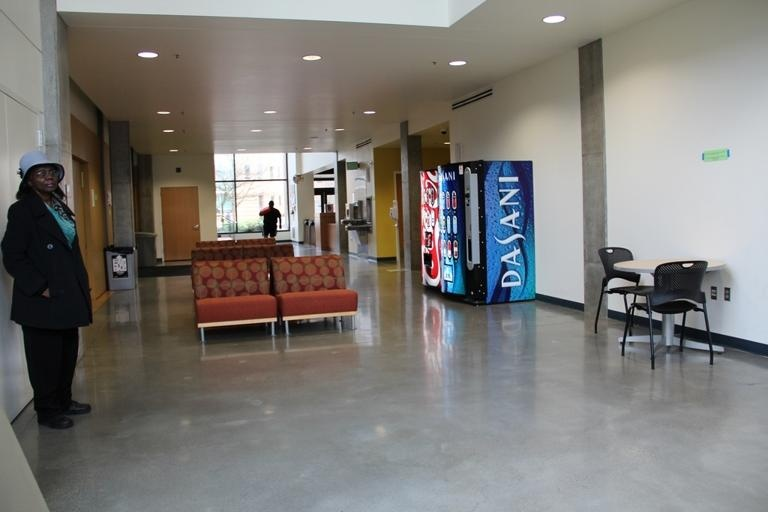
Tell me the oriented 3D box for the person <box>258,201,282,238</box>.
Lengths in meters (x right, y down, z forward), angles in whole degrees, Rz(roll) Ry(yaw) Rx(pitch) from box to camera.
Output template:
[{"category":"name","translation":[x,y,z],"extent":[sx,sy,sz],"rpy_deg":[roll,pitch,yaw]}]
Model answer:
[{"category":"person","translation":[-3.998,-1.328,18.360],"extent":[0.589,1.257,1.891],"rpy_deg":[-3,7,-13]}]

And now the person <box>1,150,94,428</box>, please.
[{"category":"person","translation":[-3.032,0.317,4.700],"extent":[0.626,2.499,0.472],"rpy_deg":[-7,9,-41]}]

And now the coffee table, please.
[{"category":"coffee table","translation":[3.297,0.614,6.110],"extent":[0.783,1.186,0.850],"rpy_deg":[-3,3,9]}]

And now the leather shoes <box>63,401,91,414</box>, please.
[{"category":"leather shoes","translation":[-2.953,1.473,5.051],"extent":[0.239,0.094,0.093],"rpy_deg":[-2,6,-12]}]

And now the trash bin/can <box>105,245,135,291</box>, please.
[{"category":"trash bin/can","translation":[-6.117,0.276,12.110],"extent":[0.617,0.993,0.443],"rpy_deg":[-5,8,-29]}]

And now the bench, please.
[{"category":"bench","translation":[-1.803,0.535,8.448],"extent":[2.364,1.120,2.190],"rpy_deg":[-4,7,-15]}]

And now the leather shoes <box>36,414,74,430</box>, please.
[{"category":"leather shoes","translation":[-2.959,1.501,4.752],"extent":[0.334,0.136,0.124],"rpy_deg":[0,4,-6]}]

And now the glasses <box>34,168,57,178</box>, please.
[{"category":"glasses","translation":[-3.008,-0.749,4.641],"extent":[0.174,0.094,0.069],"rpy_deg":[-6,8,-34]}]
